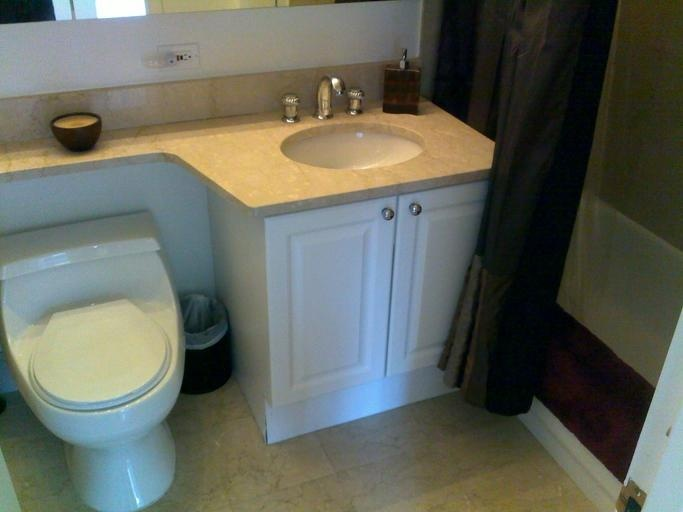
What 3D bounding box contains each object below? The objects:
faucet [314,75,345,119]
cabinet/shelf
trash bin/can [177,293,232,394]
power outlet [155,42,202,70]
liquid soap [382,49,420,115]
[{"bbox_3d":[-0.046,-0.598,2.071,0.099,0.169,0.259,-1,32,-3],"label":"faucet"},{"bbox_3d":[0.019,0.106,2.205,0.881,0.952,0.702,-8,26,-18],"label":"cabinet/shelf"},{"bbox_3d":[-0.520,0.337,2.349,0.299,0.359,0.342,-2,31,-13],"label":"trash bin/can"},{"bbox_3d":[-0.574,-0.709,1.967,0.146,0.073,0.008,-11,33,-19],"label":"power outlet"},{"bbox_3d":[0.231,-0.663,2.123,0.133,0.233,0.055,1,31,0],"label":"liquid soap"}]
